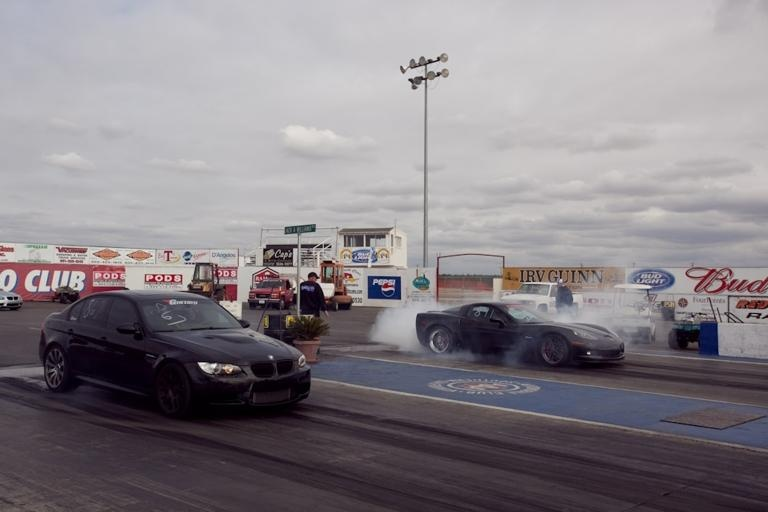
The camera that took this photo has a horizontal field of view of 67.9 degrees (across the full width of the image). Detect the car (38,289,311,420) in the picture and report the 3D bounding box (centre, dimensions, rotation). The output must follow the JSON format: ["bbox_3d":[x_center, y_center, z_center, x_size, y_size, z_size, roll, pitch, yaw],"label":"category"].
[{"bbox_3d":[-3.422,1.483,8.969,5.093,1.717,2.047,-1,-2,38],"label":"car"}]

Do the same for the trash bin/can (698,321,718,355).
[{"bbox_3d":[9.651,2.432,16.869,0.490,0.938,0.381,0,-1,29],"label":"trash bin/can"}]

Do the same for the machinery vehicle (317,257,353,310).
[{"bbox_3d":[-3.599,1.706,36.141,1.877,2.714,3.092,2,5,-5],"label":"machinery vehicle"}]

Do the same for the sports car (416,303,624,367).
[{"bbox_3d":[3.264,1.908,15.191,4.865,1.226,2.115,1,3,23],"label":"sports car"}]
